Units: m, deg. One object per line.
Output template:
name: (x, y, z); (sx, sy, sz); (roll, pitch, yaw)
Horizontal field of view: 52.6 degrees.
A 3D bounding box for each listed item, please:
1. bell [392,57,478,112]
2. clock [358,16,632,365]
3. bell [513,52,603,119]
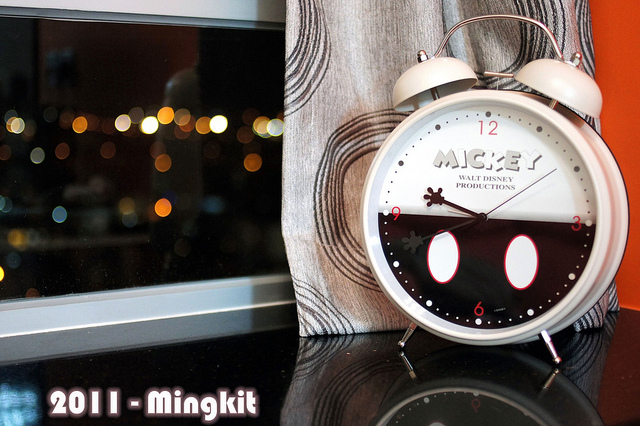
bell: (0.230, -0.252, 1.294); (0.162, 0.112, 0.111); (4, 16, 12)
clock: (0.369, -0.051, 1.367); (0.504, 0.685, 0.380); (5, 16, 16)
bell: (0.446, -0.233, 1.212); (0.158, 0.101, 0.054); (5, 16, 16)
